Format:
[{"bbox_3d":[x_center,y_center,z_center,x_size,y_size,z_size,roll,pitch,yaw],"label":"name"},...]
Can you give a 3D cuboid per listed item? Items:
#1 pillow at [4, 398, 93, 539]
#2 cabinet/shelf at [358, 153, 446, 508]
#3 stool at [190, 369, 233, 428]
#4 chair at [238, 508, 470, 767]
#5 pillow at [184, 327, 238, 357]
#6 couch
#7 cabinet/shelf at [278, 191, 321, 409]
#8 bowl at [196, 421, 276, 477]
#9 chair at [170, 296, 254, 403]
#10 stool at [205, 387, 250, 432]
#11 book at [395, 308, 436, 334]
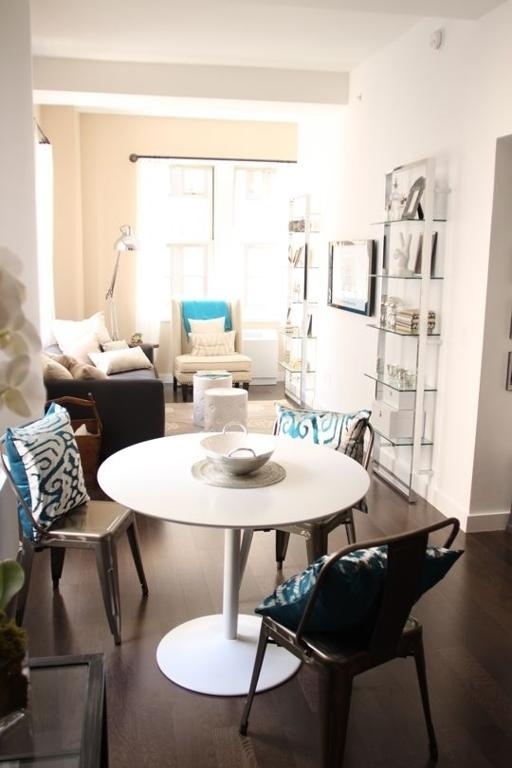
[{"bbox_3d":[-0.896,0.386,2.186,0.209,0.469,0.426,3,8,21],"label":"pillow"},{"bbox_3d":[1.014,-0.359,3.719,0.364,2.272,0.779,0,7,-4],"label":"cabinet/shelf"},{"bbox_3d":[-0.446,0.136,5.514,0.429,0.615,0.485,0,7,-4],"label":"stool"},{"bbox_3d":[0.313,0.846,1.691,0.478,0.992,0.567,-5,11,-27],"label":"chair"},{"bbox_3d":[-0.538,-0.505,6.658,0.600,0.291,0.248,-1,7,-11],"label":"pillow"},{"bbox_3d":[-1.073,0.137,4.030,0.620,0.894,0.972,-5,13,-12],"label":"couch"},{"bbox_3d":[0.514,-0.947,6.058,0.338,2.414,0.856,-1,7,-13],"label":"cabinet/shelf"},{"bbox_3d":[-0.063,0.253,1.980,0.159,0.125,0.277,2,12,-11],"label":"bowl"},{"bbox_3d":[-0.631,-0.454,6.880,0.967,1.709,1.152,-1,4,-12],"label":"chair"},{"bbox_3d":[-0.235,0.216,4.676,0.338,0.476,0.368,-3,6,-22],"label":"stool"},{"bbox_3d":[1.050,-0.409,3.504,0.286,0.157,0.239,4,8,23],"label":"book"}]
